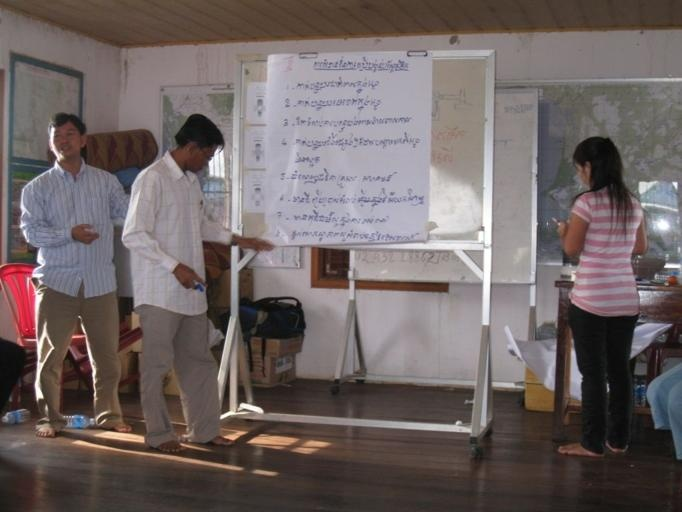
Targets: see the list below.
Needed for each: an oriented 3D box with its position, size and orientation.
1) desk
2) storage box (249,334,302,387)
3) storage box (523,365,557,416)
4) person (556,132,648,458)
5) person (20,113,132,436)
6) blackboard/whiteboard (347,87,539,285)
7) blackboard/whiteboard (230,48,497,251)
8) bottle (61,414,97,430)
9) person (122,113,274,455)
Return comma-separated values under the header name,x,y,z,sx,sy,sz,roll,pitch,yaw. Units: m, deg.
name,x,y,z,sx,sy,sz,roll,pitch,yaw
desk,1.848,0.660,4.704,1.309,1.179,0.955,0,-2,14
storage box,-0.554,0.889,5.977,0.398,0.461,0.691,2,1,18
storage box,1.635,1.055,5.353,0.238,0.326,0.341,-3,-9,32
person,1.602,0.266,4.196,0.456,1.980,0.257,2,4,11
person,-1.774,0.241,4.564,0.685,1.886,0.394,-1,5,-23
blackboard/whiteboard,0.777,-0.547,4.755,1.658,1.613,0.591,0,-1,8
blackboard/whiteboard,0.171,-0.701,4.463,1.436,0.996,0.076,1,-2,5
bottle,-1.811,1.146,4.692,0.148,0.053,0.113,2,-2,-4
person,-0.997,0.167,4.255,0.718,2.092,0.485,-2,5,-29
